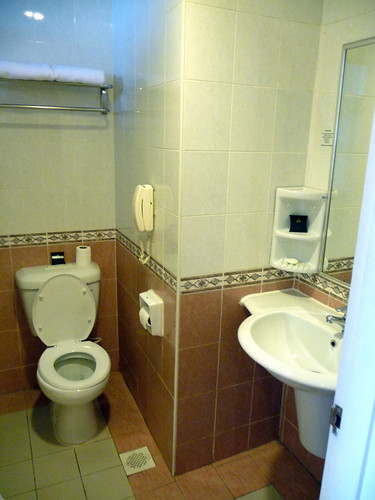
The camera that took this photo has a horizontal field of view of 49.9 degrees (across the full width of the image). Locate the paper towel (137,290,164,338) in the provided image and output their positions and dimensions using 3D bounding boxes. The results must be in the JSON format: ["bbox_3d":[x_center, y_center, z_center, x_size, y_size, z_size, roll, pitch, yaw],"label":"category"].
[{"bbox_3d":[-0.169,0.295,1.897,0.089,0.185,0.172,-8,18,-25],"label":"paper towel"}]

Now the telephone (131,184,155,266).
[{"bbox_3d":[-0.202,-0.116,1.903,0.086,0.371,0.091,6,11,15],"label":"telephone"}]

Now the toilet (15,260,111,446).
[{"bbox_3d":[-0.651,0.569,2.177,0.443,0.823,0.598,-4,13,-25],"label":"toilet"}]

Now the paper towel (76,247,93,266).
[{"bbox_3d":[-0.619,0.034,2.463,0.089,0.120,0.093,-2,9,-34],"label":"paper towel"}]
